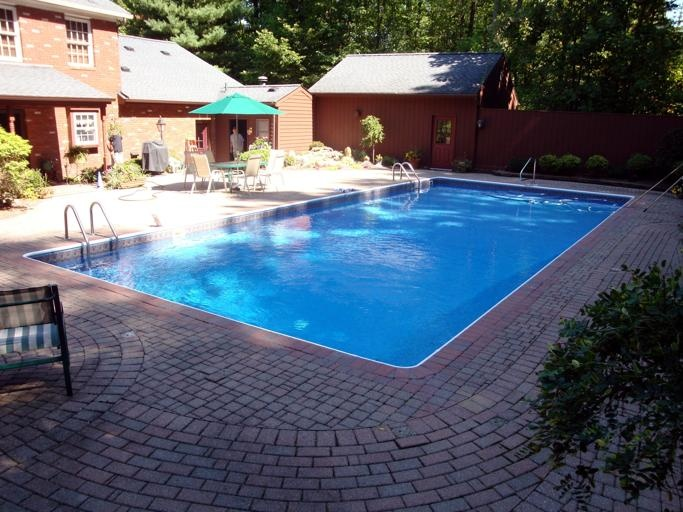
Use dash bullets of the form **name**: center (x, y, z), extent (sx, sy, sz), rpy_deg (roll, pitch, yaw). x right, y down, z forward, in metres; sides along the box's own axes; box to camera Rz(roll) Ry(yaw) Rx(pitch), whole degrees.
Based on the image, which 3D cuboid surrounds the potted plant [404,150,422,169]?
- **potted plant**: center (3.289, -4.769, 23.117), extent (0.985, 0.816, 0.947), rpy_deg (7, 13, 34)

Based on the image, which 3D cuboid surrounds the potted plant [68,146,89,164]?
- **potted plant**: center (-9.289, -3.555, 16.526), extent (0.669, 0.534, 0.623), rpy_deg (1, 9, -35)
